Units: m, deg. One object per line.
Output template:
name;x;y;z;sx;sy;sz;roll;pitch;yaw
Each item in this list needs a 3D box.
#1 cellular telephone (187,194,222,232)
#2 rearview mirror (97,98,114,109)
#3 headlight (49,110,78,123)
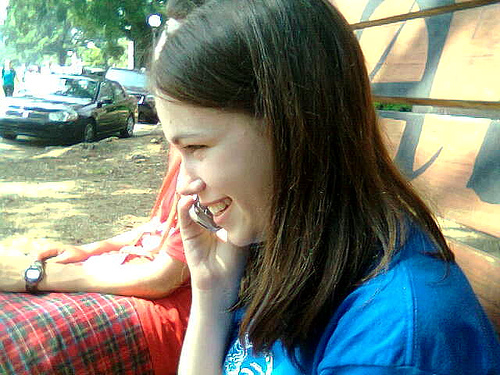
cellular telephone;-0.161;0.104;1.672;0.130;0.041;0.129;42;19;-31
rearview mirror;-0.932;-0.542;3.093;0.056;0.030;0.080;-7;1;10
headlight;-1.124;-0.427;2.901;0.158;0.073;0.054;4;15;-1
